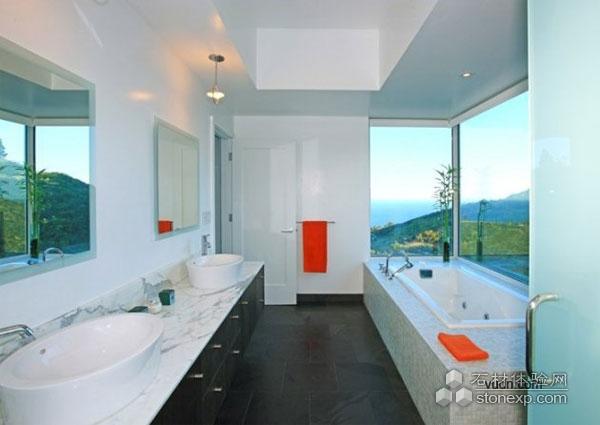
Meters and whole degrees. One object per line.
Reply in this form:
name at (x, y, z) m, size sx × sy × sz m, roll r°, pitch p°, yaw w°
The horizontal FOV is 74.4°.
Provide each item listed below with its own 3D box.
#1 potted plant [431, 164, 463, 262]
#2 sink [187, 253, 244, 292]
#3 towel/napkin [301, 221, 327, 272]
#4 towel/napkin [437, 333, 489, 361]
potted plant at (1.808, -0.031, 4.951) m, size 0.277 × 1.135 × 0.328 m, roll -12°, pitch 17°, yaw -42°
sink at (-0.687, 0.474, 3.216) m, size 0.441 × 0.190 × 0.501 m, roll -1°, pitch 6°, yaw -9°
towel/napkin at (0.184, 0.418, 4.792) m, size 0.332 × 0.620 × 0.035 m, roll -1°, pitch 1°, yaw 27°
towel/napkin at (1.038, 0.853, 2.527) m, size 0.239 × 0.062 × 0.271 m, roll -3°, pitch 11°, yaw -9°
